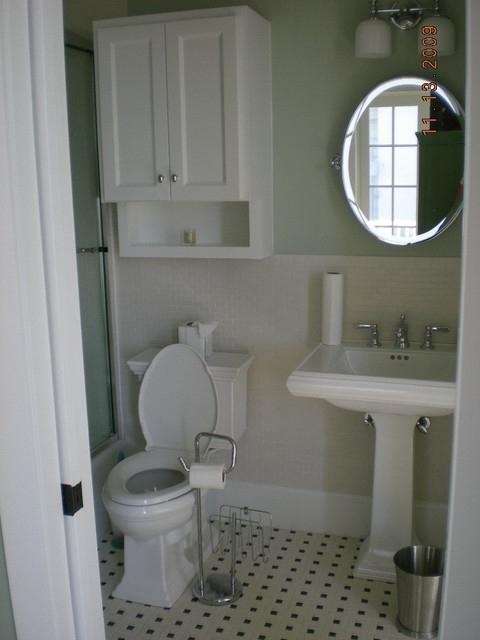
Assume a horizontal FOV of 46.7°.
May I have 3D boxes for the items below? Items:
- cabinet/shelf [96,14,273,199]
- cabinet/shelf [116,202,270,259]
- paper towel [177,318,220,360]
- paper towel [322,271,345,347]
[{"bbox_3d":[-0.208,-0.833,2.120,0.524,0.660,0.256,3,12,15],"label":"cabinet/shelf"},{"bbox_3d":[-0.155,-0.405,2.401,0.413,0.253,0.119,-1,3,-17],"label":"cabinet/shelf"},{"bbox_3d":[-0.177,0.065,2.427,0.166,0.211,0.135,1,7,10],"label":"paper towel"},{"bbox_3d":[0.375,-0.041,2.264,0.083,0.294,0.077,0,7,5],"label":"paper towel"}]
